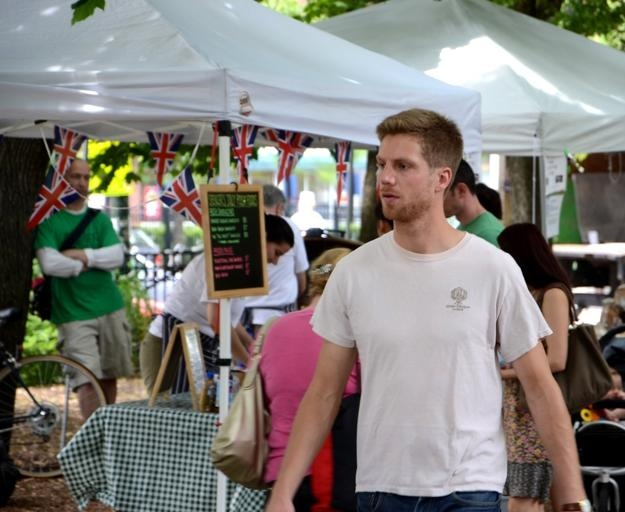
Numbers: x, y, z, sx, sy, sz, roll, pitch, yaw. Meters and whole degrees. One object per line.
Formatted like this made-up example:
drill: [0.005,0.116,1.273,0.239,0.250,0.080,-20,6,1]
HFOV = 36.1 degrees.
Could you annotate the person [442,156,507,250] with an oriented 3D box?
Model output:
person: [1.064,-0.418,6.534,0.446,0.758,0.919,-2,-1,8]

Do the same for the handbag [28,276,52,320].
handbag: [-2.277,0.345,7.737,0.235,0.331,0.331,3,-7,-19]

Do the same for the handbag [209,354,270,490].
handbag: [-0.346,0.833,4.783,0.182,0.655,0.336,-1,-2,28]
